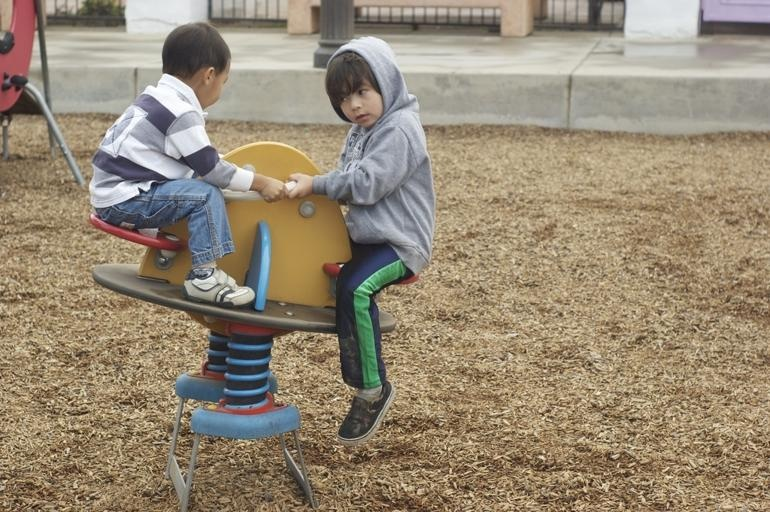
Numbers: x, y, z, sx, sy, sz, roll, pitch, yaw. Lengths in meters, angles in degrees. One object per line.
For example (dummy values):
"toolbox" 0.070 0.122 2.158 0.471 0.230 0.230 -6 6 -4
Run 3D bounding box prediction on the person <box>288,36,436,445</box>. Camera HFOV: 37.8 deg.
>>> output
"person" -0.101 -0.101 5.572 0.633 1.928 0.729 4 15 10

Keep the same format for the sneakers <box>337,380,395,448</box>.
"sneakers" -0.113 0.757 5.542 0.177 0.152 0.436 20 40 16

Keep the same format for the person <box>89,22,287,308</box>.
"person" -0.938 -0.457 5.427 0.843 1.305 0.489 7 16 22

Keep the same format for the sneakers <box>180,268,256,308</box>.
"sneakers" -0.780 0.143 5.382 0.349 0.134 0.157 7 17 4
